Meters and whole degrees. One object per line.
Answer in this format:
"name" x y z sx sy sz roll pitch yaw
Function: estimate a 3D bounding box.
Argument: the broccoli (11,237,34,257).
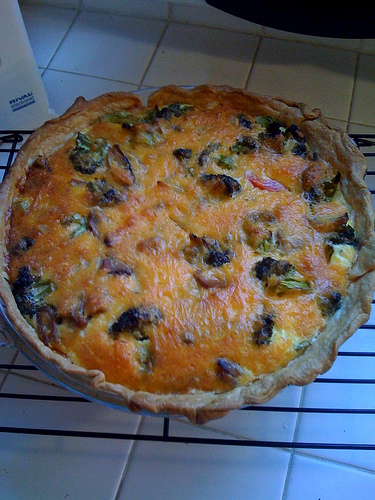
"broccoli" -0.535 -0.012 1.646 0.078 0.019 0.047 -43 65 -7

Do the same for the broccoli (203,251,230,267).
"broccoli" 0.091 0.029 1.581 0.082 0.017 0.050 2 57 1

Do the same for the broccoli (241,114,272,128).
"broccoli" 0.262 -0.486 1.911 0.106 0.021 0.052 -3 45 6

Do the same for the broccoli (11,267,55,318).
"broccoli" -0.490 0.134 1.578 0.149 0.036 0.131 28 86 7

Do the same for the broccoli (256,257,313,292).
"broccoli" 0.290 0.080 1.563 0.159 0.040 0.089 35 69 4

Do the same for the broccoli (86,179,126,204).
"broccoli" -0.278 -0.195 1.703 0.117 0.019 0.073 39 64 22

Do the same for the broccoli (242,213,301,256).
"broccoli" 0.246 -0.047 1.636 0.161 0.127 0.042 49 47 -17

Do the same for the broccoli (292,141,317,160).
"broccoli" 0.431 -0.357 1.838 0.087 0.075 0.023 -14 28 23

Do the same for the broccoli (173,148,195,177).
"broccoli" 0.001 -0.305 1.776 0.104 0.028 0.086 1 74 -9

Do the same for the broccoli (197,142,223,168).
"broccoli" 0.081 -0.340 1.820 0.065 0.021 0.104 38 64 11

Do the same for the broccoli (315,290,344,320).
"broccoli" 0.444 0.170 1.579 0.077 0.025 0.096 42 74 -7

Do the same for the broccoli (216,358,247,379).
"broccoli" 0.131 0.346 1.474 0.083 0.017 0.046 29 44 2

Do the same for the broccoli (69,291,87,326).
"broccoli" -0.323 0.175 1.509 0.061 0.020 0.080 -17 60 -4

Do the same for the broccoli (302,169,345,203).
"broccoli" 0.480 -0.220 1.758 0.114 0.039 0.140 12 47 46

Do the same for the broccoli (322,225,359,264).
"broccoli" 0.503 -0.023 1.656 0.113 0.037 0.127 21 82 24

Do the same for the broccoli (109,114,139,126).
"broccoli" -0.236 -0.493 1.910 0.070 0.018 0.069 30 47 26

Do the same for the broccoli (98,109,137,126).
"broccoli" -0.261 -0.501 1.912 0.087 0.021 0.081 -24 54 -16
